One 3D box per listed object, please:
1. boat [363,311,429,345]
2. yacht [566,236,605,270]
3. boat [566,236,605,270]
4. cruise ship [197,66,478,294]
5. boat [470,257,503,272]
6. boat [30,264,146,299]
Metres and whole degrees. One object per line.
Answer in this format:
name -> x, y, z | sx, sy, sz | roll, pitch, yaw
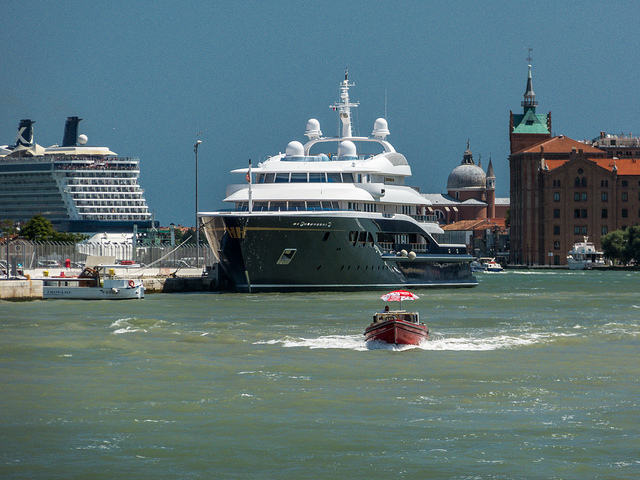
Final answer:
boat -> 3.853, 4.762, 93.755 | 2.972, 2.116, 5.693 | 0, -9, 4
yacht -> 26.138, 1.513, 184.914 | 2.255, 3.198, 6.863 | -2, 1, -13
boat -> 26.301, 1.315, 184.740 | 2.098, 3.140, 6.738 | -4, 3, -12
cruise ship -> 0.756, -2.962, 118.373 | 9.595, 12.656, 27.281 | 4, 2, 29
boat -> 15.875, 2.523, 180.265 | 1.650, 1.029, 3.445 | 2, 3, 16
boat -> -13.974, 2.814, 110.595 | 6.251, 1.989, 2.655 | 2, -2, 9
